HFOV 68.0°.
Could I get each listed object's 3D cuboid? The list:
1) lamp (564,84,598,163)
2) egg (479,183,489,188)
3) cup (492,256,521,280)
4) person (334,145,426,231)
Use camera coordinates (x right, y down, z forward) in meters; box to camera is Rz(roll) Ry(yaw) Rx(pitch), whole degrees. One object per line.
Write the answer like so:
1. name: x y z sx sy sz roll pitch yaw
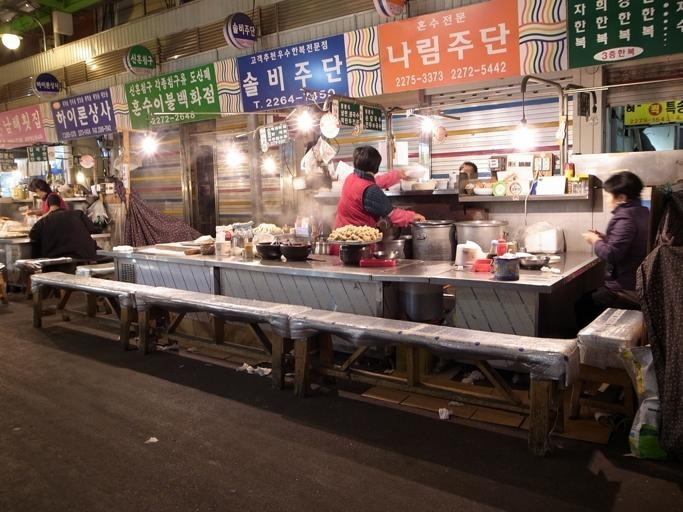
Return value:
1. lamp: 3.676 -2.107 7.597 0.510 1.105 2.081 4 12 25
2. egg: 1.831 -0.905 6.455 0.092 0.027 0.091 0 1 8
3. cup: 1.491 0.098 4.578 0.249 0.211 0.213 -2 5 -12
4. person: 0.495 -0.825 6.105 0.877 0.993 0.852 -13 16 -43
